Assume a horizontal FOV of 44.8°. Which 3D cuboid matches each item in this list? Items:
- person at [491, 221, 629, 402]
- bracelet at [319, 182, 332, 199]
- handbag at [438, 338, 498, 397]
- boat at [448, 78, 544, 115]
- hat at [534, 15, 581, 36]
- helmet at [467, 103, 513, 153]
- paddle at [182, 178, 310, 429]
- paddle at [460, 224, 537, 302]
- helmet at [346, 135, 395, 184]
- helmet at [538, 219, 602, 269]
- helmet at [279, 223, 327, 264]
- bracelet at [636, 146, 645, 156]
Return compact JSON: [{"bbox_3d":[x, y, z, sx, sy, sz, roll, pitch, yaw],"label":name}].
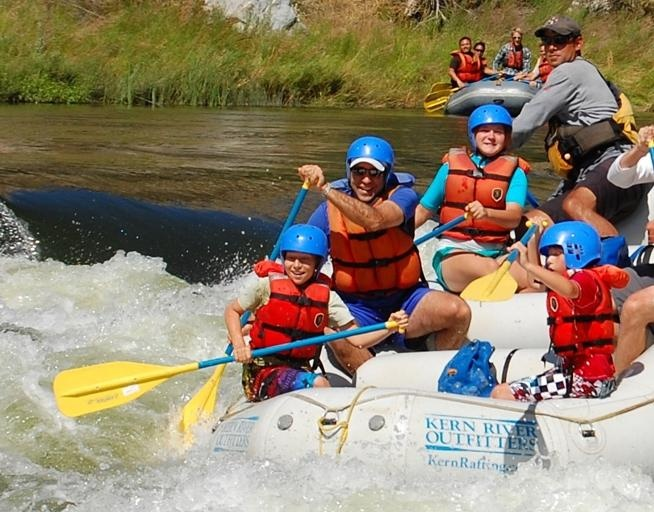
[{"bbox_3d":[1.306,0.299,4.594,0.973,1.206,0.754,1,3,16],"label":"person"},{"bbox_3d":[0.003,-0.373,4.562,0.088,0.082,0.059,-6,1,44],"label":"bracelet"},{"bbox_3d":[0.786,0.645,4.504,0.339,0.270,0.124,-53,12,-12],"label":"handbag"},{"bbox_3d":[2.722,-2.628,13.482,1.251,0.449,1.965,7,5,1],"label":"boat"},{"bbox_3d":[1.648,-1.610,5.652,0.273,0.126,0.192,2,6,-33],"label":"hat"},{"bbox_3d":[1.050,-0.857,5.275,0.295,0.271,0.338,1,5,-4],"label":"helmet"},{"bbox_3d":[-0.573,0.347,5.435,0.251,2.051,0.087,25,-20,7],"label":"paddle"},{"bbox_3d":[1.183,0.029,5.081,0.332,0.068,1.005,2,29,33],"label":"paddle"},{"bbox_3d":[0.266,-0.554,4.733,0.241,0.288,0.273,5,5,4],"label":"helmet"},{"bbox_3d":[1.297,-0.059,4.181,0.311,0.224,0.212,2,-8,27],"label":"helmet"},{"bbox_3d":[-0.119,-0.086,4.564,0.195,0.241,0.180,13,62,2],"label":"helmet"},{"bbox_3d":[1.811,-0.606,4.594,0.047,0.033,0.046,1,14,5],"label":"bracelet"}]
